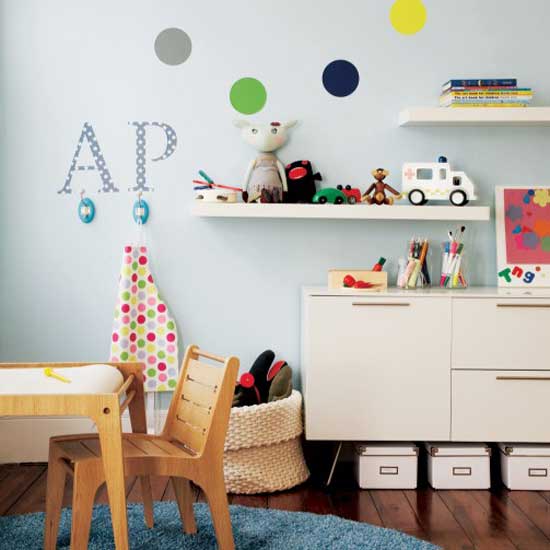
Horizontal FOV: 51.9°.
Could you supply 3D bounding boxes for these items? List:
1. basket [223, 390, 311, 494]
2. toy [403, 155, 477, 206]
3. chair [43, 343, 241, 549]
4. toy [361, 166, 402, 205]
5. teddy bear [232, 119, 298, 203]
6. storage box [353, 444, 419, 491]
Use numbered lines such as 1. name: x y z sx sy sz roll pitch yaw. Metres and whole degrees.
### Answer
1. basket: -0.038 0.668 2.279 0.268 0.291 0.344 -1 -5 -4
2. toy: 0.692 -0.403 2.430 0.191 0.162 0.076 1 7 5
3. chair: -0.402 0.504 1.896 0.610 0.897 0.483 5 -8 -22
4. toy: 0.459 -0.382 2.435 0.167 0.173 0.160 1 3 8
5. teddy bear: -0.041 -0.496 2.435 0.291 0.417 0.198 0 -10 -2
6. storage box: 0.437 0.756 2.215 0.168 0.129 0.185 0 -5 0
